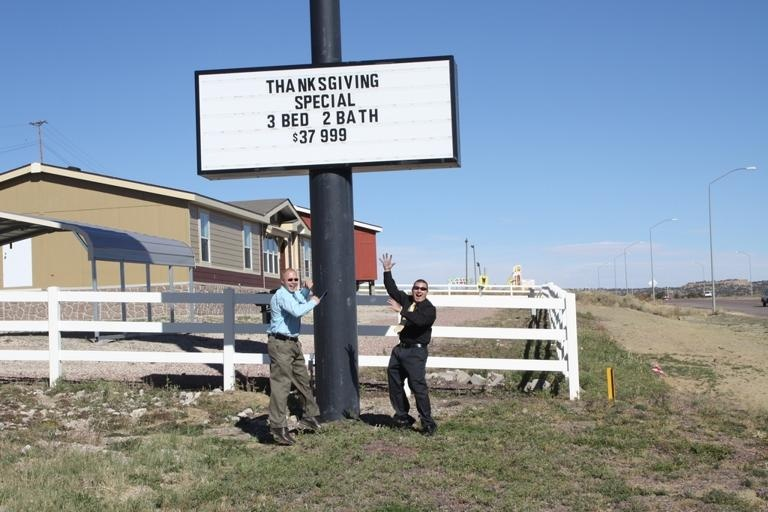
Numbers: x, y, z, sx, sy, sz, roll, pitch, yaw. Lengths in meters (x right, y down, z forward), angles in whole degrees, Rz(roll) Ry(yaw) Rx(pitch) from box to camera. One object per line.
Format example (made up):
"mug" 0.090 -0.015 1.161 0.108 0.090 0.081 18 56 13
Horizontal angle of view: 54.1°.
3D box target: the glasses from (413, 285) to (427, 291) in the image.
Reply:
"glasses" 0.640 0.580 13.597 0.247 0.096 0.145 1 8 -5

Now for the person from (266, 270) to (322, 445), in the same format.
"person" -1.639 1.744 13.356 0.925 2.966 1.143 5 8 20

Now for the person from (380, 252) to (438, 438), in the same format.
"person" 0.470 1.525 13.736 1.067 3.206 1.091 2 8 -2

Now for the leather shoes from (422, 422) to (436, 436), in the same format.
"leather shoes" 0.812 3.082 13.575 0.276 0.206 0.263 2 8 1

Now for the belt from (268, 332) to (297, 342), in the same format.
"belt" -1.814 1.431 13.329 0.508 0.162 0.200 1 8 -6

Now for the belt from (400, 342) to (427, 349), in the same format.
"belt" 0.515 1.609 13.639 0.456 0.100 0.134 2 8 2

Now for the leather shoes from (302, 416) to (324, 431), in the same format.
"leather shoes" -1.309 3.029 13.582 0.480 0.204 0.181 3 -2 -36
